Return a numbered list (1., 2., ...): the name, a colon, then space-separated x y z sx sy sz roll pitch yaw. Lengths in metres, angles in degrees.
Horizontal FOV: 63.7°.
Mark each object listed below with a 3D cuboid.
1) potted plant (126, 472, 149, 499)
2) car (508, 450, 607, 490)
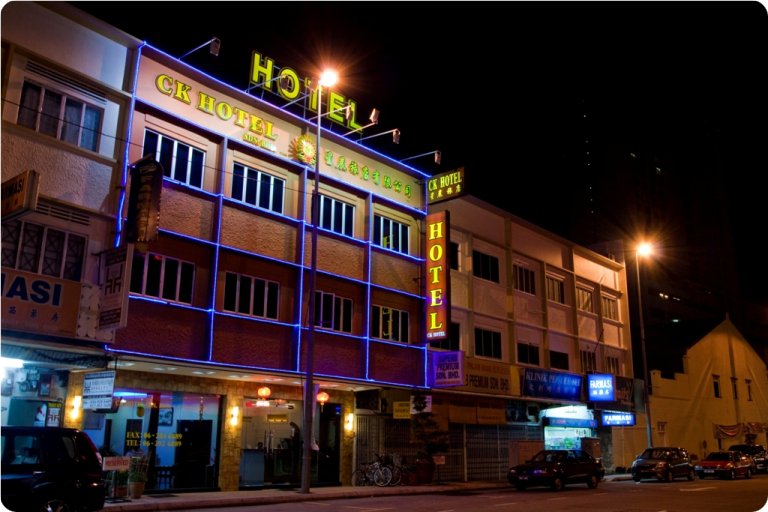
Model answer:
1. potted plant: -9.543 9.013 24.040 0.827 0.852 0.794 2 -20 -8
2. car: 8.977 11.089 32.085 4.757 2.003 1.629 12 -26 -28
